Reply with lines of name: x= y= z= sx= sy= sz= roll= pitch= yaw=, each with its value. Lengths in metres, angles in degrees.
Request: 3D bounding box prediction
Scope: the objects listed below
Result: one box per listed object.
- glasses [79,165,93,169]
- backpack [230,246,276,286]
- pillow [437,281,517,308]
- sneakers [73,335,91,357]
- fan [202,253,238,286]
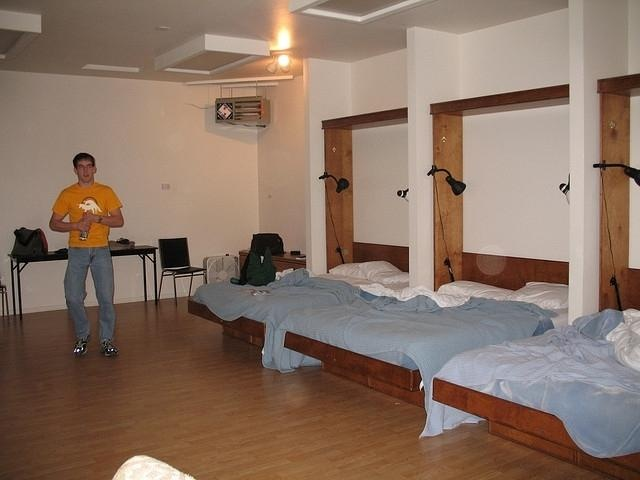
glasses: x=-2.316 y=-0.731 z=4.801 sx=0.128 sy=0.042 sz=0.046 roll=-7 pitch=6 yaw=-43
backpack: x=-0.792 y=0.306 z=5.553 sx=0.515 sy=0.400 sz=0.271 roll=-1 pitch=4 yaw=24
pillow: x=1.528 y=0.510 z=4.841 sx=0.348 sy=0.088 sz=0.337 roll=-8 pitch=13 yaw=-38
sneakers: x=-2.494 y=1.104 z=5.060 sx=0.105 sy=0.129 sz=0.292 roll=0 pitch=-5 yaw=-9
fan: x=-1.609 y=0.465 z=7.702 sx=0.471 sy=0.488 sz=0.166 roll=2 pitch=-4 yaw=-33
